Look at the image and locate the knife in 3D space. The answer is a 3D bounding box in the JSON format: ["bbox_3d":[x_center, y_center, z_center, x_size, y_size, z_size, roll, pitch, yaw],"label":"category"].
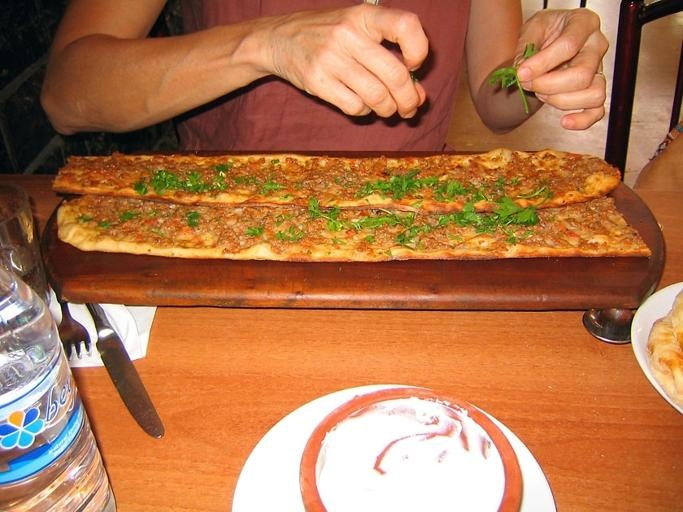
[{"bbox_3d":[-0.650,0.301,1.511,0.079,0.046,0.592,-20,49,-34],"label":"knife"}]

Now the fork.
[{"bbox_3d":[-0.885,0.162,1.661,0.084,0.064,0.614,-17,31,-32],"label":"fork"}]

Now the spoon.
[{"bbox_3d":[0.896,0.049,1.768,0.153,0.094,0.568,-8,48,26],"label":"spoon"}]
